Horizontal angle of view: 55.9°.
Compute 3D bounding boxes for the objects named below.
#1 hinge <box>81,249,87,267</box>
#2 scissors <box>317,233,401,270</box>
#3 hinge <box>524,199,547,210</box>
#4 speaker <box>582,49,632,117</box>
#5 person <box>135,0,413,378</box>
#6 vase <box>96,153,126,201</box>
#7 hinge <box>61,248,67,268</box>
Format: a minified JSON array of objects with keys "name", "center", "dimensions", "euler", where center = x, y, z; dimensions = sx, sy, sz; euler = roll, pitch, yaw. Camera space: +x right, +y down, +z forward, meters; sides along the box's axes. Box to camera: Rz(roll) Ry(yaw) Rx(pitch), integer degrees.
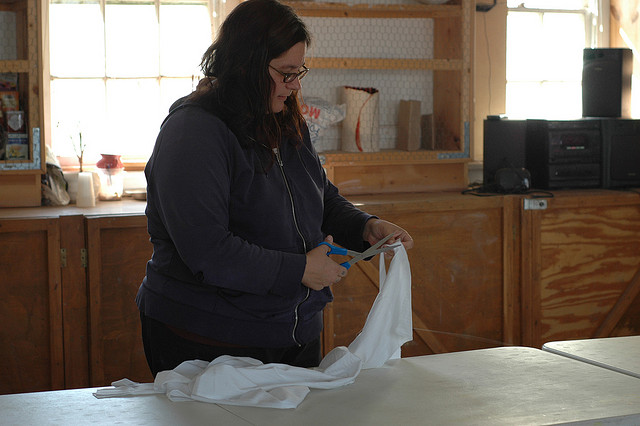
[{"name":"hinge","center":[-1.201,0.230,3.064],"dimensions":[0.027,0.088,0.010],"euler":[-2,5,-8]},{"name":"scissors","center":[0.145,0.146,2.244],"dimensions":[0.315,0.021,0.117],"euler":[-19,51,-14]},{"name":"hinge","center":[1.255,-0.047,3.533],"dimensions":[0.093,0.032,0.068],"euler":[0,6,-12]},{"name":"speaker","center":[1.849,-0.834,3.890],"dimensions":[0.289,0.440,0.129],"euler":[1,6,20]},{"name":"person","center":[-0.299,-0.065,2.181],"dimensions":[0.720,1.371,0.366],"euler":[-3,6,-18]},{"name":"vase","center":[-1.254,-0.214,3.622],"dimensions":[0.163,0.273,0.244],"euler":[-3,6,-19]},{"name":"hinge","center":[-1.297,0.227,3.041],"dimensions":[0.023,0.095,0.009],"euler":[-3,6,-19]}]
